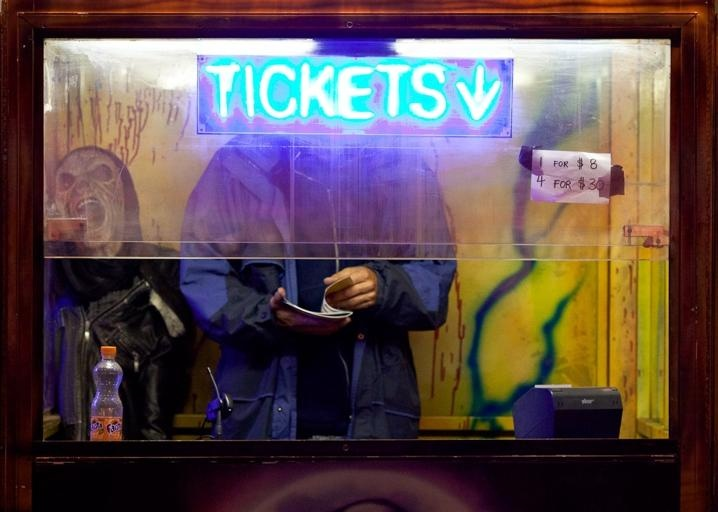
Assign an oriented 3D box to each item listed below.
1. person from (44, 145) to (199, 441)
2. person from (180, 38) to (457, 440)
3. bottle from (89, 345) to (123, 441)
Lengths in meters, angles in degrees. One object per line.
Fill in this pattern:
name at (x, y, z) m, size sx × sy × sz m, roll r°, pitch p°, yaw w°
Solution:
person at (-0.832, 0.193, 3.106) m, size 0.503 × 1.114 × 0.314 m, roll -6°, pitch 6°, yaw -10°
person at (-0.143, 0.048, 3.063) m, size 0.845 × 1.083 × 0.582 m, roll 0°, pitch 21°, yaw -6°
bottle at (-0.795, 0.440, 2.972) m, size 0.102 × 0.277 × 0.385 m, roll 2°, pitch 1°, yaw -14°
